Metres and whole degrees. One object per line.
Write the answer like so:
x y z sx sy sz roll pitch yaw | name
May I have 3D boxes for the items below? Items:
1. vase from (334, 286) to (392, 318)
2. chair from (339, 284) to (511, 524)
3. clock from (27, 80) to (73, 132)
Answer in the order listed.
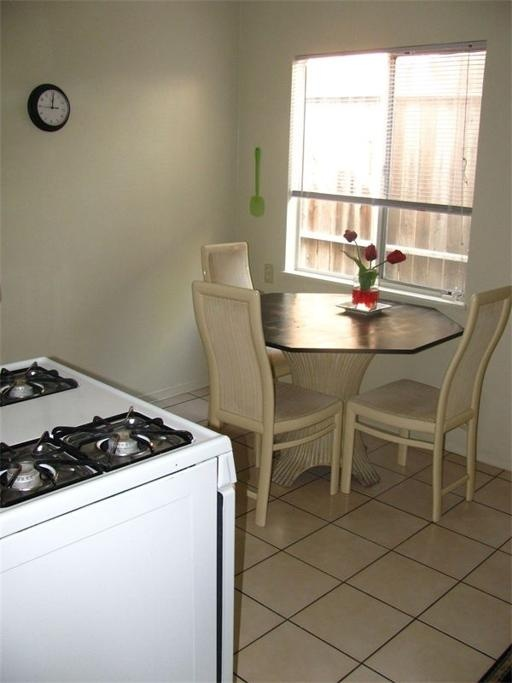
0.603 -0.252 3.013 0.179 0.093 0.204 16 28 33 | vase
0.798 0.247 2.628 0.617 1.066 0.536 13 17 42 | chair
-1.119 -1.270 2.942 0.055 0.276 0.280 11 18 33 | clock
